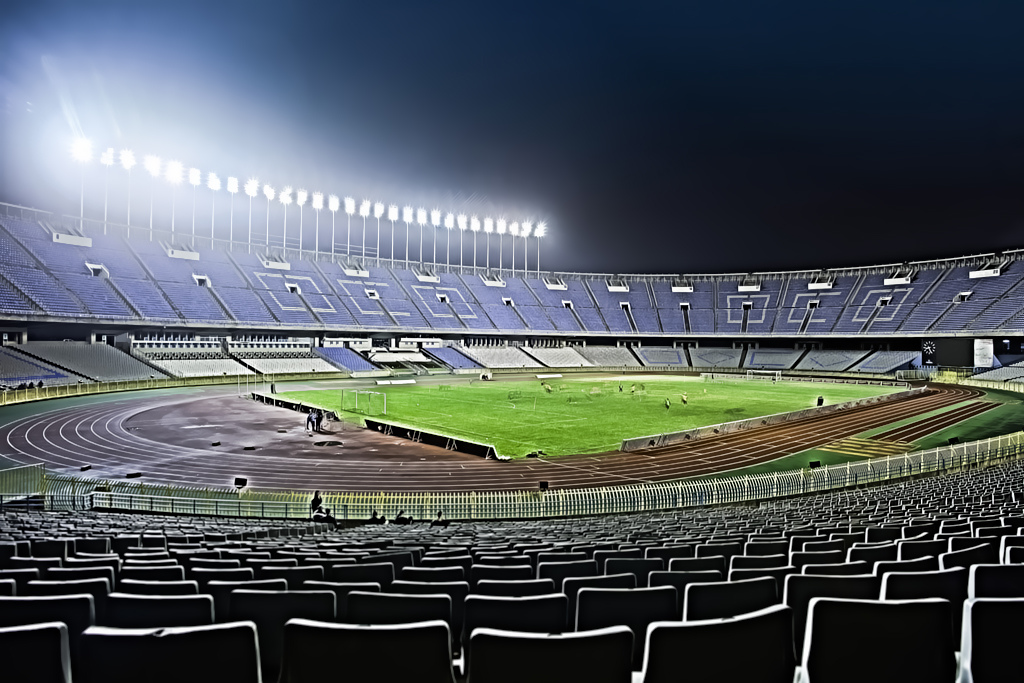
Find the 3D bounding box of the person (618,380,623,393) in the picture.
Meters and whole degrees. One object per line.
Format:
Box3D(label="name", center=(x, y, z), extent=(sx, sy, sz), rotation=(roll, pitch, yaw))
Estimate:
Box3D(label="person", center=(8.314, 3.549, 51.870), extent=(0.332, 0.722, 0.259), rotation=(-2, -51, 9))
